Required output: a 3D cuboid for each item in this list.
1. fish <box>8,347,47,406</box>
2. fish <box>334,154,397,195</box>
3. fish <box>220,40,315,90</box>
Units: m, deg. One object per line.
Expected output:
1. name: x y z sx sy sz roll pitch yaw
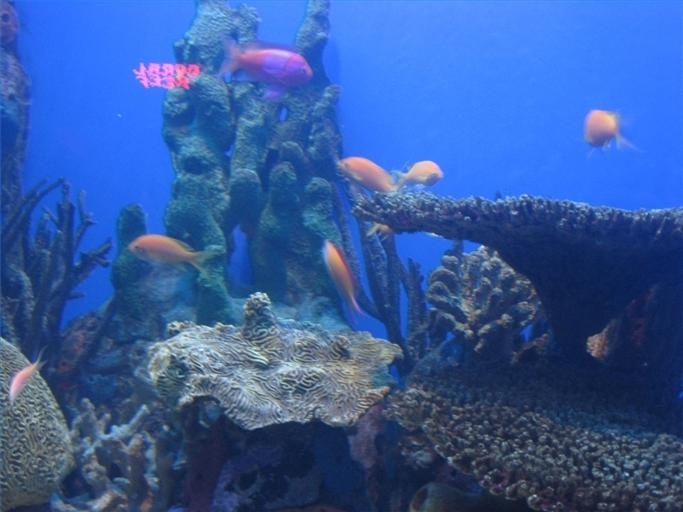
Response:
1. fish: -2.762 1.065 6.637 0.244 0.392 0.469 8 4 -22
2. fish: 0.273 -0.821 7.630 0.582 0.272 0.335 10 4 -2
3. fish: -0.648 -1.845 7.140 0.943 0.469 0.345 10 25 1
